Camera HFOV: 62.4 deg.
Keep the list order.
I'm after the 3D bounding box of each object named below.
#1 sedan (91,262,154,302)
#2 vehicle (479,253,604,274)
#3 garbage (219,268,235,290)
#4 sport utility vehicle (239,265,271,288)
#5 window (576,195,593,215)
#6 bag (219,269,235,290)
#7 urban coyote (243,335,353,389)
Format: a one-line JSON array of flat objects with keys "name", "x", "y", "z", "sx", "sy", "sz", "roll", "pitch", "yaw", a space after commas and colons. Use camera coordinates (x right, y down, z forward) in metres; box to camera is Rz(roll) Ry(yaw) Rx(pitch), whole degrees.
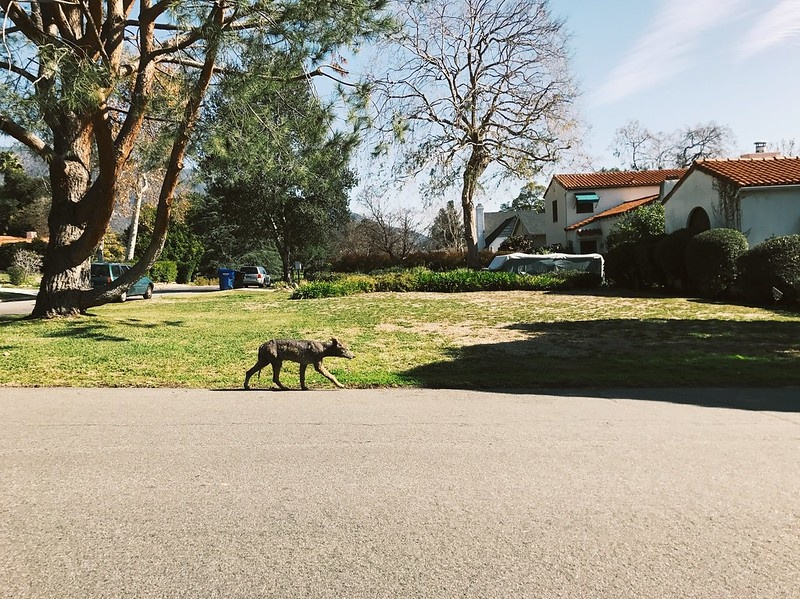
[{"name": "sedan", "x": -12.786, "y": -0.721, "z": 29.785, "sx": 1.575, "sy": 1.941, "sz": 4.193, "roll": -2, "pitch": 3, "yaw": 5}, {"name": "vehicle", "x": 7.273, "y": -1.680, "z": 32.301, "sx": 5.340, "sy": 1.213, "sz": 2.911, "roll": 0, "pitch": 2, "yaw": 19}, {"name": "garbage", "x": -11.729, "y": -1.310, "z": 44.162, "sx": 0.681, "sy": 1.504, "sz": 1.407, "roll": -1, "pitch": -1, "yaw": 14}, {"name": "sport utility vehicle", "x": -10.257, "y": -1.585, "z": 46.576, "sx": 1.980, "sy": 1.441, "sz": 1.910, "roll": -1, "pitch": 1, "yaw": -29}, {"name": "window", "x": 13.673, "y": -6.831, "z": 48.641, "sx": 1.356, "sy": 1.519, "sz": 1.166, "roll": -4, "pitch": 24, "yaw": -5}, {"name": "bag", "x": -11.650, "y": -1.290, "z": 43.927, "sx": 0.615, "sy": 1.372, "sz": 1.278, "roll": 0, "pitch": 0, "yaw": 11}, {"name": "urban coyote", "x": -1.731, "y": 1.106, "z": 11.286, "sx": 1.799, "sy": 1.050, "sz": 0.451, "roll": 2, "pitch": 13, "yaw": -19}]
